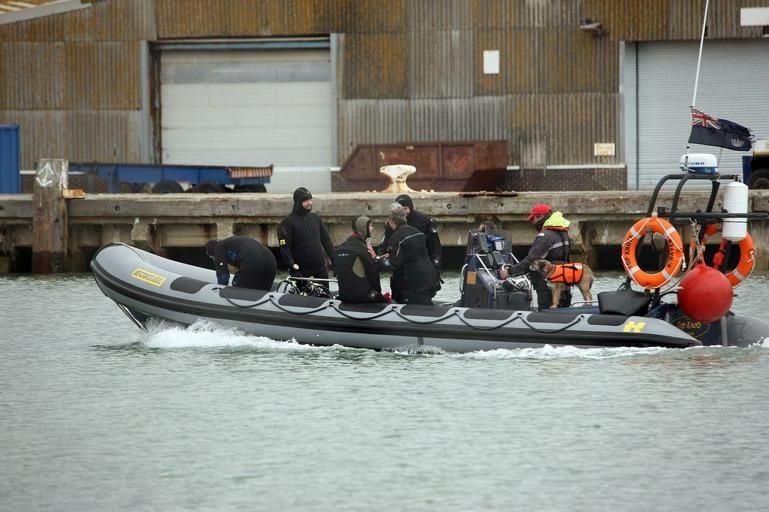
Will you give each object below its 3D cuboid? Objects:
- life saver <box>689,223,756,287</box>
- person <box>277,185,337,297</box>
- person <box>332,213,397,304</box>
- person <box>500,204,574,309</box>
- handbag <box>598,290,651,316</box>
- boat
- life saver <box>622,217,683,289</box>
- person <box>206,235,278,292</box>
[{"bbox_3d":[6.072,-0.028,31.686,1.036,1.181,0.665,-1,7,6],"label":"life saver"},{"bbox_3d":[-1.507,0.028,33.102,1.214,2.569,0.889,-13,17,-42],"label":"person"},{"bbox_3d":[-0.462,0.065,31.794,0.959,1.605,0.361,-2,7,-3],"label":"person"},{"bbox_3d":[2.862,0.217,33.103,1.198,2.446,1.525,5,17,18],"label":"person"},{"bbox_3d":[4.288,0.824,31.533,0.948,0.471,0.415,-1,7,5],"label":"handbag"},{"bbox_3d":[0.222,0.781,32.016,11.652,1.853,0.893,-1,7,8],"label":"boat"},{"bbox_3d":[4.787,-0.067,31.361,0.622,1.345,1.154,-8,9,-43],"label":"life saver"},{"bbox_3d":[-2.662,0.161,32.454,1.213,1.327,1.074,15,22,38],"label":"person"}]
